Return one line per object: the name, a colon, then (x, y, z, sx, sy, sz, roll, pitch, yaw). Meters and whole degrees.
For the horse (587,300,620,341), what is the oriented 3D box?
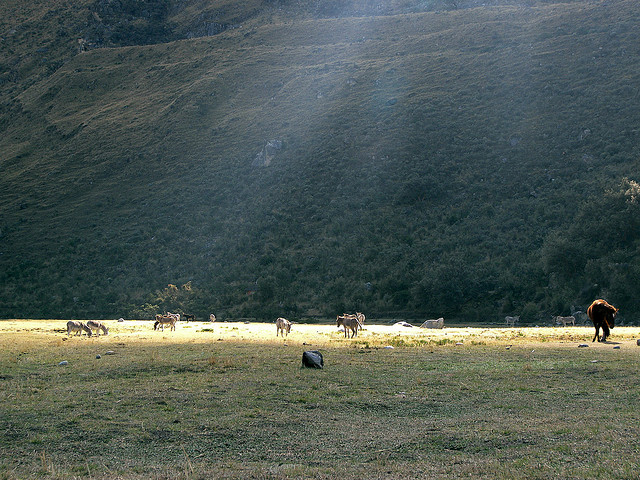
horse: (35.190, 10.042, 110.600, 2.984, 4.971, 2.003, -3, -2, 17)
